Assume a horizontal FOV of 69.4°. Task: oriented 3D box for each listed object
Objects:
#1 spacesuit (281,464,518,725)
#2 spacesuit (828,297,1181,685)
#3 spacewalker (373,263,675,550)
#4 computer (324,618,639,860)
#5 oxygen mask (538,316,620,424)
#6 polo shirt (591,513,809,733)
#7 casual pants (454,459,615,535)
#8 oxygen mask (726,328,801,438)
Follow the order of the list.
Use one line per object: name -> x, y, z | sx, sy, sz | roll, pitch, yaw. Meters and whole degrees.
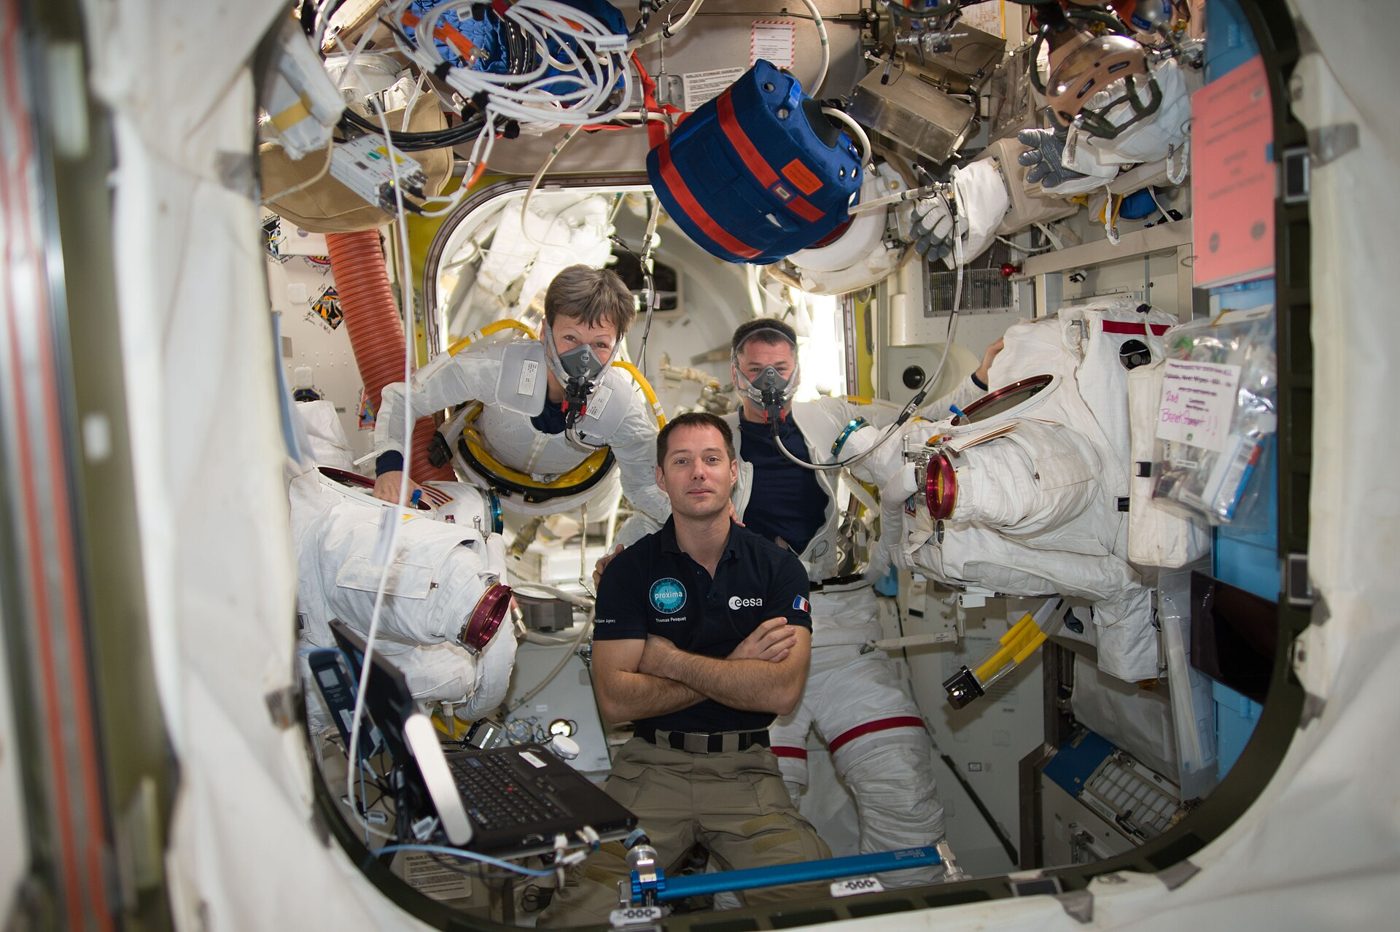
spacesuit -> -0.897, 0.395, 3.099 | 0.726, 0.319, 0.731 | 8, -15, 1
spacesuit -> 1.092, 0.062, 3.838 | 1.210, 1.325, 1.048 | -11, 14, -26
spacewalker -> -0.671, -0.279, 4.509 | 1.361, 0.980, 1.171 | 14, -49, -14
computer -> -0.572, 0.677, 2.638 | 0.604, 0.432, 0.728 | -1, 2, -33
oxygen mask -> -0.517, -0.434, 4.266 | 0.327, 0.386, 0.379 | 3, 32, -13
polo shirt -> -0.034, 0.562, 3.695 | 1.008, 1.006, 0.594 | 1, -8, -4
casual pants -> -0.790, 0.250, 5.292 | 0.476, 0.189, 0.452 | 21, 33, -6
oxygen mask -> 0.274, -0.386, 4.590 | 0.299, 0.371, 0.434 | -2, -49, -1
